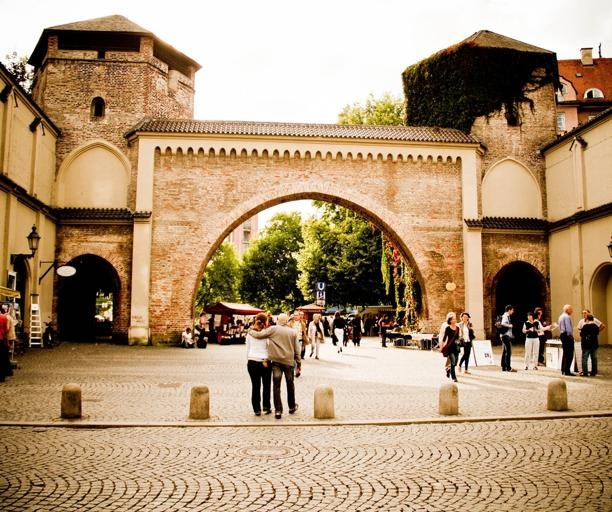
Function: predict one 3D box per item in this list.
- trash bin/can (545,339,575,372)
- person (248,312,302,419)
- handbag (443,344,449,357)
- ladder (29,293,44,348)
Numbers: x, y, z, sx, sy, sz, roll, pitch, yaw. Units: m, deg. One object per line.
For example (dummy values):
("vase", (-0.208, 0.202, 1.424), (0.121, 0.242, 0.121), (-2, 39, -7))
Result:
("trash bin/can", (7.769, 3.032, 26.939), (0.631, 0.802, 0.904), (3, -1, -18))
("person", (-0.492, 2.470, 19.951), (0.825, 2.332, 1.541), (0, -7, 12))
("handbag", (3.828, 2.557, 23.852), (0.171, 0.276, 0.195), (1, -7, 1))
("ladder", (-10.082, 2.413, 33.236), (0.540, 2.085, 2.041), (3, -8, -17))
